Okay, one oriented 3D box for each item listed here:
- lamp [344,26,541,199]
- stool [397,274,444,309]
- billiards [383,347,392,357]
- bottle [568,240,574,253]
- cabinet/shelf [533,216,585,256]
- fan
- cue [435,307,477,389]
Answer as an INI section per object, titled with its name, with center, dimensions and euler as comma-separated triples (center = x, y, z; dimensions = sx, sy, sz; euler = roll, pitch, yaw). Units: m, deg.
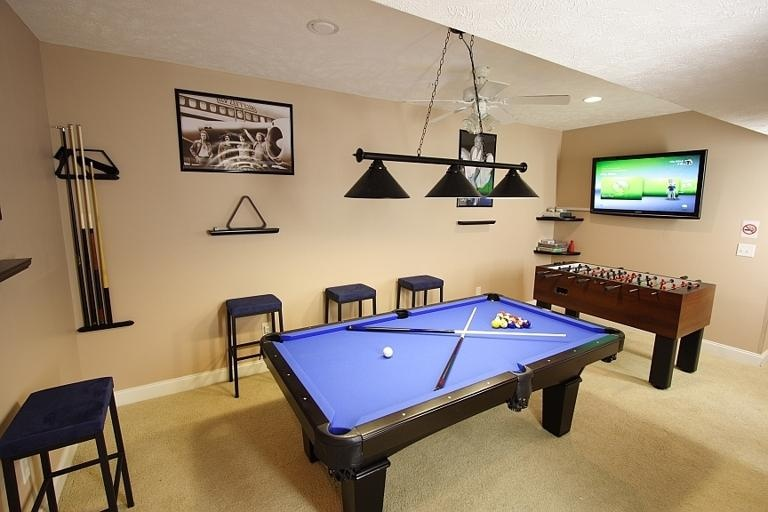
[lamp]
center = 0.493, -1.429, 5.164
dimensions = 1.490, 1.328, 0.387
euler = 2, 1, -25
[stool]
center = 0.438, 0.354, 6.280
dimensions = 0.453, 0.626, 0.455
euler = -3, 7, -31
[billiards]
center = 0.032, 0.765, 4.224
dimensions = 0.065, 0.050, 0.062
euler = 5, 49, -14
[bottle]
center = 2.610, -0.134, 7.265
dimensions = 0.082, 0.164, 0.225
euler = 3, 9, 20
[cabinet/shelf]
center = 2.412, -0.277, 7.440
dimensions = 0.553, 0.631, 0.688
euler = -4, 7, -40
[fan]
center = 1.221, -1.530, 5.108
dimensions = 0.863, 0.359, 0.918
euler = -17, 24, -33
[cue]
center = 0.598, 0.769, 4.323
dimensions = 0.049, 0.047, 1.249
euler = 14, 21, 14
